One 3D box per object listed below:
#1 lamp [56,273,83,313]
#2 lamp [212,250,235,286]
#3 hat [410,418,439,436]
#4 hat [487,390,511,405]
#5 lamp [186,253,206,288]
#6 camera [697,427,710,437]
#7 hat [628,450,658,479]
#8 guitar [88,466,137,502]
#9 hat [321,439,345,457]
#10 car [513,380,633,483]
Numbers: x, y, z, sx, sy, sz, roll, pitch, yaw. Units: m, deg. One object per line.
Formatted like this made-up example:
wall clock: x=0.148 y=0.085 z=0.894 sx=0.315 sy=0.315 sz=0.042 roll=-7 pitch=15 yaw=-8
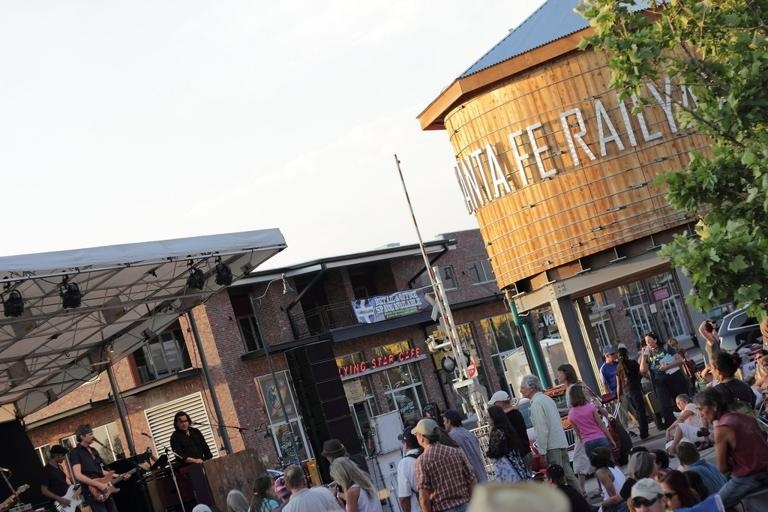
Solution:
lamp: x=-6.615 y=0.821 z=19.362 sx=0.486 sy=0.687 sz=0.676 roll=3 pitch=-10 yaw=-45
lamp: x=-3.871 y=0.339 z=21.547 sx=0.436 sy=0.649 sz=0.860 roll=-14 pitch=-11 yaw=-10
hat: x=0.616 y=2.728 z=14.399 sx=0.379 sy=0.276 sz=0.314 roll=-19 pitch=-11 yaw=12
hat: x=2.195 y=2.631 z=16.845 sx=0.571 sy=0.326 sz=0.418 roll=2 pitch=-6 yaw=-2
lamp: x=-4.464 y=0.437 z=21.342 sx=0.472 sy=0.607 sz=0.693 roll=-14 pitch=-11 yaw=-12
camera: x=6.453 y=3.582 z=18.391 sx=0.292 sy=0.174 sz=0.118 roll=8 pitch=-2 yaw=-12
hat: x=4.013 y=3.250 z=14.212 sx=0.340 sy=0.425 sz=0.480 roll=2 pitch=10 yaw=11
guitar: x=-6.094 y=5.054 z=20.024 sx=0.419 sy=0.609 sz=0.819 roll=-21 pitch=-12 yaw=23
hat: x=-0.945 y=3.471 z=16.104 sx=0.337 sy=0.216 sz=0.405 roll=-14 pitch=0 yaw=-19
car: x=3.241 y=3.404 z=17.561 sx=1.250 sy=1.181 sz=2.485 roll=0 pitch=-11 yaw=-13
